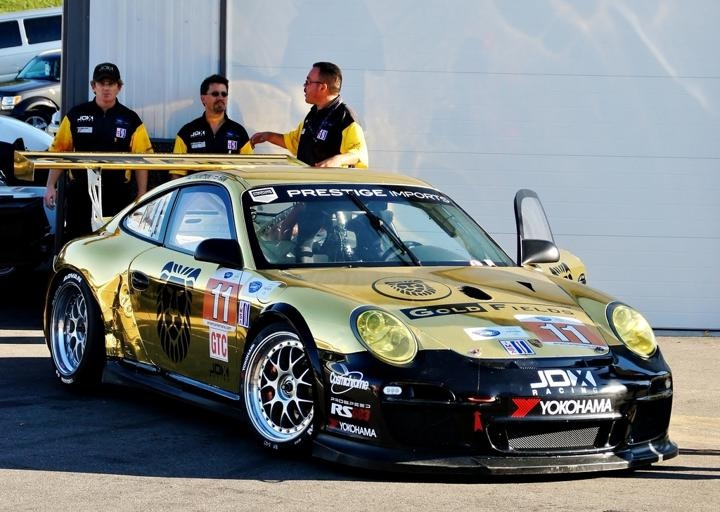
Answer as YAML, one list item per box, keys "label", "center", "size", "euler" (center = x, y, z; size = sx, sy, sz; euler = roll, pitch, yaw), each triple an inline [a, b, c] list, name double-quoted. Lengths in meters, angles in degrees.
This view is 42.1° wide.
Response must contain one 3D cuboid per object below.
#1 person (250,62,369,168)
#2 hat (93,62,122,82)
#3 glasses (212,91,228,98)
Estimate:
- label: "person"
  center: [-0.434, -1.307, 9.286]
  size: [0.726, 1.137, 2.218]
  euler: [-6, 14, -23]
- label: "hat"
  center: [-2.665, -1.944, 9.896]
  size: [0.287, 0.211, 0.182]
  euler: [0, 7, -14]
- label: "glasses"
  center: [-1.497, -1.756, 10.095]
  size: [0.073, 0.066, 0.194]
  euler: [5, 8, 33]
